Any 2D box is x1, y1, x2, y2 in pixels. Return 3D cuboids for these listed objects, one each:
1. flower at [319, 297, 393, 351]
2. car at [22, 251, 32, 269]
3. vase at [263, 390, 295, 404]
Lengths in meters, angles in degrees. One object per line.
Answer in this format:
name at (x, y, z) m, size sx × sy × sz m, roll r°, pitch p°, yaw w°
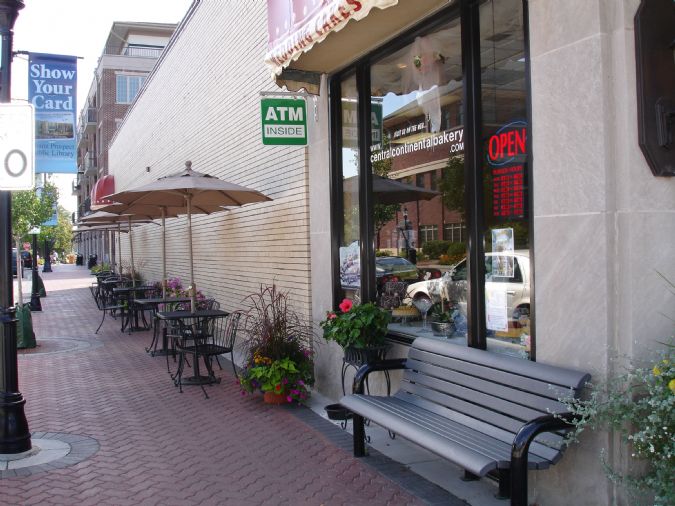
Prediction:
flower at (0.187, 0.769, 6.273) m, size 0.548 × 0.412 × 0.549 m, roll -2°, pitch -2°, yaw 41°
car at (-27.178, 0.659, 51.841) m, size 1.232 × 1.252 × 2.315 m, roll 0°, pitch -9°, yaw -24°
vase at (-0.736, 1.804, 7.370) m, size 0.352 × 0.182 × 0.245 m, roll -1°, pitch 2°, yaw 1°
